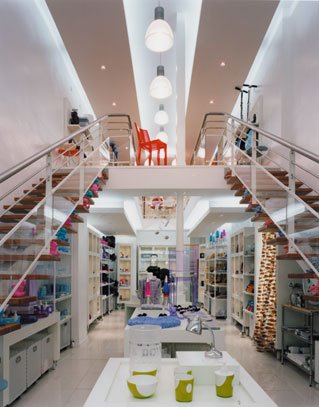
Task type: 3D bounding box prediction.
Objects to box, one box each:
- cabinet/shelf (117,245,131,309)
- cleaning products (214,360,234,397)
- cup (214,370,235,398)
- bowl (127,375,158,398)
[{"bbox_3d":[-1.433,2.869,12.567,0.577,2.407,1.204,2,-14,-7],"label":"cabinet/shelf"},{"bbox_3d":[0.259,0.707,1.233,0.066,0.114,0.080,8,-12,-30],"label":"cleaning products"},{"bbox_3d":[0.259,0.719,1.234,0.069,0.097,0.096,-2,-13,8],"label":"cup"},{"bbox_3d":[-0.066,0.720,1.194,0.118,0.068,0.132,1,-13,-4],"label":"bowl"}]
